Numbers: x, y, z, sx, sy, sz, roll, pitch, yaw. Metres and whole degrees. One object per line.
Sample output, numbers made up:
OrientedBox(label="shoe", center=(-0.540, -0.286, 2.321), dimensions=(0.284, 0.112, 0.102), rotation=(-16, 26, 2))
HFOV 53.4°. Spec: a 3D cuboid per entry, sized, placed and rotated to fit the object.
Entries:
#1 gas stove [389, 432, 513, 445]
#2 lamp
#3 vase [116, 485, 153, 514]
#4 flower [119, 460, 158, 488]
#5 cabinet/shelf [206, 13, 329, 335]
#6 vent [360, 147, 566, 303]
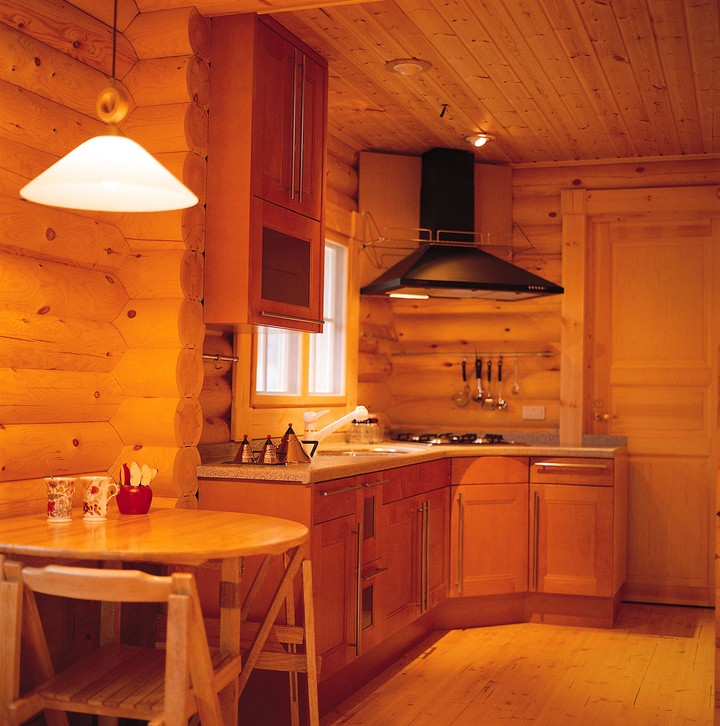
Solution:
OrientedBox(label="gas stove", center=(0.574, 0.503, 4.823), dimensions=(0.836, 0.073, 0.634), rotation=(-1, -6, 9))
OrientedBox(label="lamp", center=(-0.613, -0.585, 1.741), dimensions=(0.402, 0.375, 0.377), rotation=(1, 3, -24))
OrientedBox(label="vase", center=(-0.690, 0.422, 2.218), dimensions=(0.096, 0.071, 0.097), rotation=(1, -1, 33))
OrientedBox(label="flower", center=(-0.707, 0.355, 2.313), dimensions=(0.079, 0.074, 0.183), rotation=(0, -2, 4))
OrientedBox(label="cabinet/shelf", center=(-0.395, -0.796, 3.036), dimensions=(0.237, 1.330, 0.656), rotation=(-2, -7, 21))
OrientedBox(label="vent", center=(0.603, -0.927, 4.786), dimensions=(1.215, 0.922, 0.874), rotation=(-2, 6, -25))
